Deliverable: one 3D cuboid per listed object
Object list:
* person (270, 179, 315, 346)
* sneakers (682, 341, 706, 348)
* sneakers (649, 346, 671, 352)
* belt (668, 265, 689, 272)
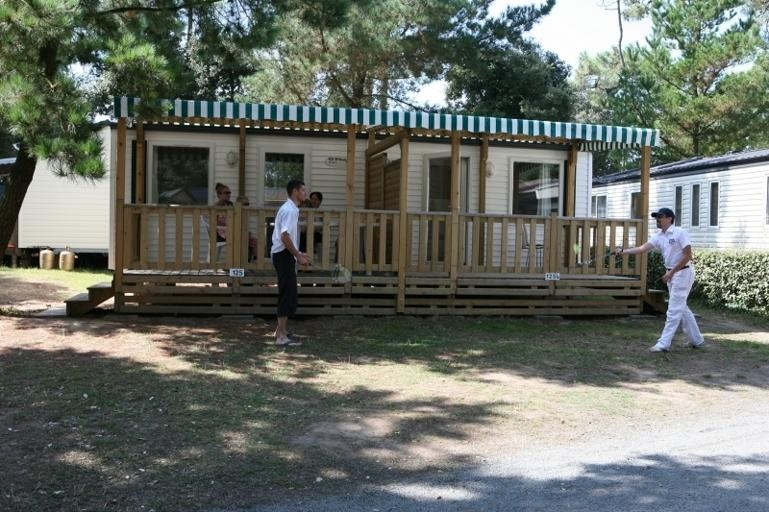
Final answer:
[{"bbox_3d":[-1.405,0.167,12.354,0.544,2.421,1.096,1,14,-6],"label":"person"},{"bbox_3d":[4.953,1.402,13.057,0.307,0.105,0.101,2,2,-2],"label":"sneakers"},{"bbox_3d":[4.288,1.435,12.727,0.283,0.097,0.102,3,-3,-1],"label":"sneakers"},{"bbox_3d":[4.484,0.216,12.446,0.179,0.057,0.123,-25,5,1],"label":"belt"}]
